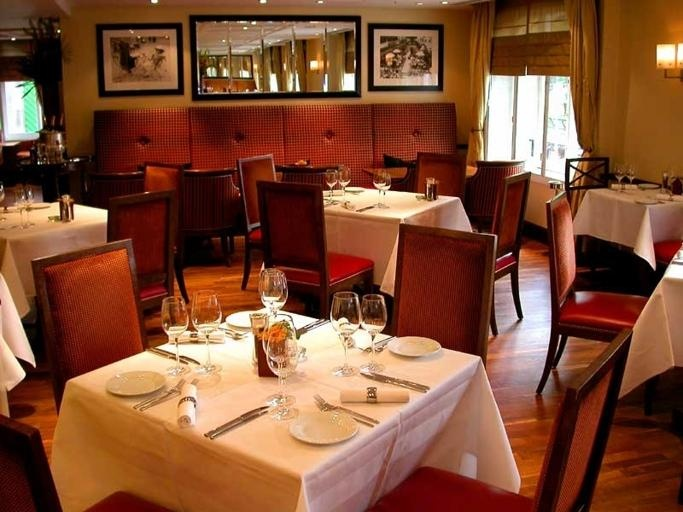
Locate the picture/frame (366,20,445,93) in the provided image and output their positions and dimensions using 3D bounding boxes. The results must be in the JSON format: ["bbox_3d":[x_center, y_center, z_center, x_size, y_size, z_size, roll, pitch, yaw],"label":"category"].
[{"bbox_3d":[0.912,-3.045,7.885,0.909,0.910,0.041,-1,9,-11],"label":"picture/frame"}]

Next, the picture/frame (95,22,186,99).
[{"bbox_3d":[-2.877,-2.772,7.315,0.914,0.914,0.077,0,19,-1],"label":"picture/frame"}]

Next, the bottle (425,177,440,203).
[{"bbox_3d":[0.799,-0.573,4.600,0.137,0.235,0.205,-3,5,-30],"label":"bottle"}]

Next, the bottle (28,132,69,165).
[{"bbox_3d":[-3.628,-1.312,6.567,0.389,0.442,0.486,10,17,20],"label":"bottle"}]

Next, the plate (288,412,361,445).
[{"bbox_3d":[-0.054,0.513,1.544,0.206,0.034,0.148,-2,14,2],"label":"plate"}]
